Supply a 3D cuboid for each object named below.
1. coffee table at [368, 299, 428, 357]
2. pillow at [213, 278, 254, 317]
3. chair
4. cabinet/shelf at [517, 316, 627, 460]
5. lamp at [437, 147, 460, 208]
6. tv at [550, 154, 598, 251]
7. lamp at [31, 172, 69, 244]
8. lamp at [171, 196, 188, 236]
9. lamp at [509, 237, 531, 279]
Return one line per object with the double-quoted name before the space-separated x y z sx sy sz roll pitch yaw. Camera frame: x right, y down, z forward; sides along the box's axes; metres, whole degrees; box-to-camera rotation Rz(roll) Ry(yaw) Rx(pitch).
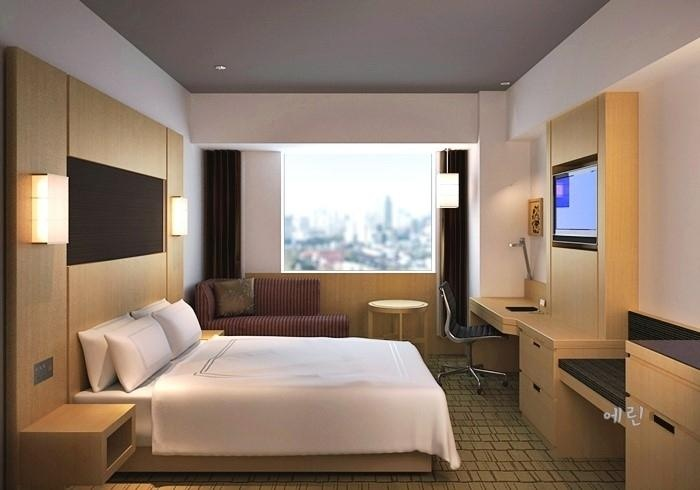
"coffee table" 0.626 1.102 6.183 0.665 0.777 0.700 -1 2 6
"pillow" -1.464 0.685 5.906 0.390 0.420 0.143 1 -14 -23
"chair" 1.316 1.073 5.804 0.976 1.483 1.121 -2 -3 8
"cabinet/shelf" 2.048 1.283 4.311 0.792 1.260 1.454 0 1 6
"lamp" 1.244 -0.855 5.980 0.261 0.778 0.396 0 3 15
"tv" 2.083 -0.397 4.347 0.340 0.925 0.923 0 -1 3
"lamp" -2.202 -0.265 3.460 0.239 0.502 0.111 -3 4 -37
"lamp" -1.888 -0.320 5.200 0.049 0.409 0.206 2 4 41
"lamp" 2.041 0.162 5.611 0.257 0.497 0.297 0 3 12
